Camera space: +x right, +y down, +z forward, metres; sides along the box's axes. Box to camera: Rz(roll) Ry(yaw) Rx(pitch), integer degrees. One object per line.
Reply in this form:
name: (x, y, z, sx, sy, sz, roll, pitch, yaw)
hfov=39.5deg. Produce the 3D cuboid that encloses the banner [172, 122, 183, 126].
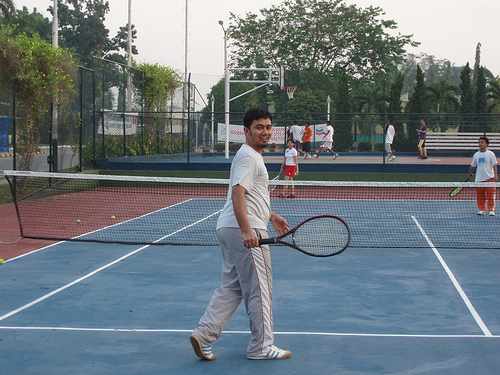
banner: (-3.669, -3.183, 35.197, 0.446, 0.197, 1.645, 1, 6, -4)

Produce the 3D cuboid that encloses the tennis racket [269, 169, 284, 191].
tennis racket: (0.553, -0.140, 16.236, 0.016, 0.194, 0.627, 16, 55, 40)

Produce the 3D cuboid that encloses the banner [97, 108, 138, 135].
banner: (-5.003, -2.461, 26.665, 2.754, 0.919, 0.143, 7, 6, 43)
